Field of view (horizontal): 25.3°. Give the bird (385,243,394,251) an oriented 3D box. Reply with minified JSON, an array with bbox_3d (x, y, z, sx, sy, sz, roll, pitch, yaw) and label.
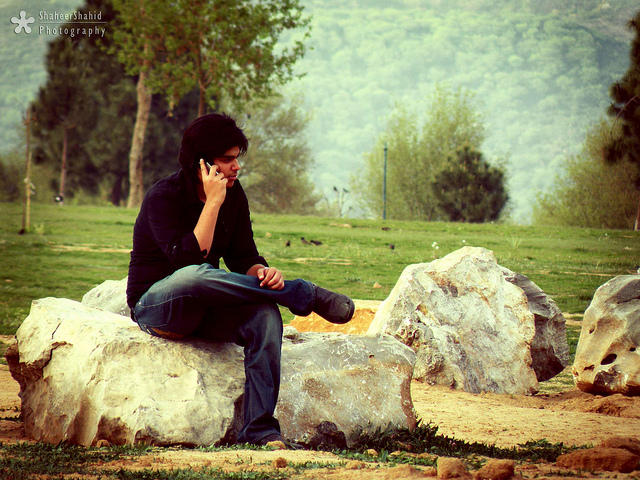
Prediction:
[{"bbox_3d":[3.676,0.334,73.364,0.393,0.251,0.993,2,2,8],"label":"bird"}]

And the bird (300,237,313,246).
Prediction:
[{"bbox_3d":[-0.670,0.091,72.992,0.637,0.530,0.205,4,9,9],"label":"bird"}]
